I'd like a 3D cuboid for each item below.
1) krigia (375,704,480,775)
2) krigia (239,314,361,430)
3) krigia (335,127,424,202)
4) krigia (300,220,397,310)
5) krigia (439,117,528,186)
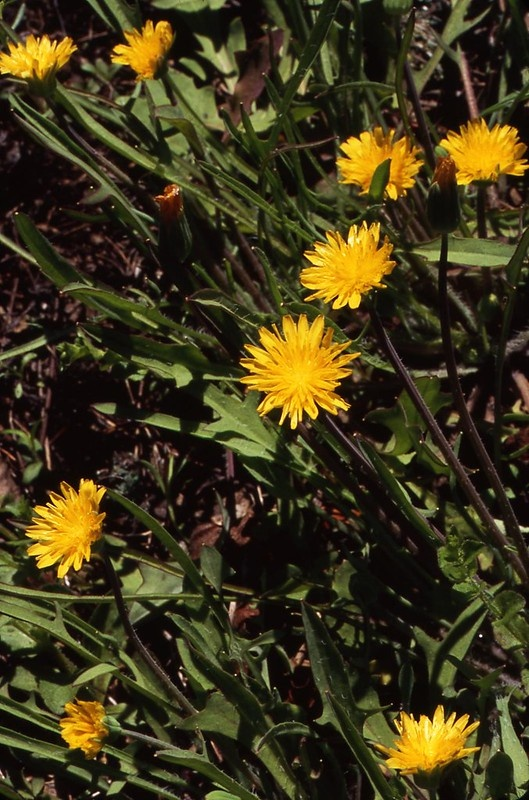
[{"bbox_3d":[0.235,0.485,0.988,0.120,0.129,0.096,-2,55,12],"label":"krigia"},{"bbox_3d":[0.048,-0.043,0.981,0.154,0.079,0.162,-21,53,-2],"label":"krigia"},{"bbox_3d":[0.195,-0.401,1.184,0.095,0.099,0.163,-41,57,-16],"label":"krigia"},{"bbox_3d":[0.138,-0.187,1.047,0.146,0.085,0.153,-19,46,33],"label":"krigia"},{"bbox_3d":[0.360,-0.406,1.134,0.155,0.066,0.154,7,70,16],"label":"krigia"}]
